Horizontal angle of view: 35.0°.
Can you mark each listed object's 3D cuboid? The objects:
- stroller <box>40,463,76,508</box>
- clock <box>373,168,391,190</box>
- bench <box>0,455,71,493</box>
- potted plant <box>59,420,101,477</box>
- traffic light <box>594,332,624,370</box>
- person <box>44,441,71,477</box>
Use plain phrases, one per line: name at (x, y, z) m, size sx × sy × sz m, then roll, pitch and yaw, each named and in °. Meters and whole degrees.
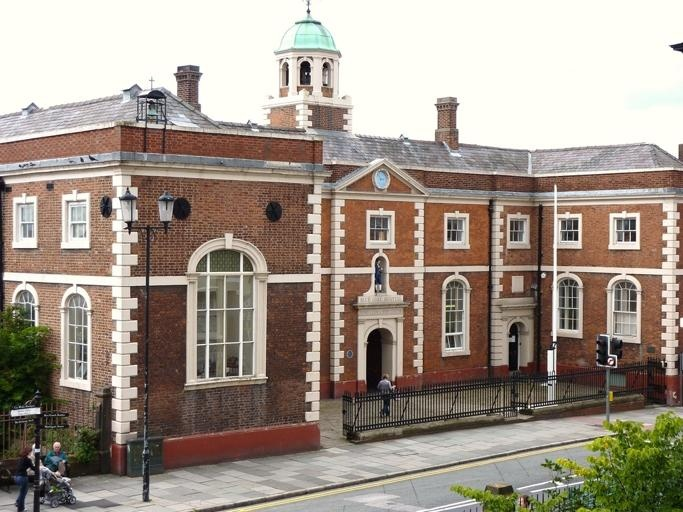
stroller at (-8.315, 6.653, 31.720) m, size 1.035 × 1.273 × 1.026 m, roll -1°, pitch -1°, yaw -11°
clock at (1.716, -3.416, 47.325) m, size 0.113 × 0.944 × 0.888 m, roll -1°, pitch -2°, yaw 43°
bench at (-8.753, 6.452, 31.339) m, size 1.874 × 1.295 × 1.395 m, roll -3°, pitch 1°, yaw -28°
potted plant at (-8.156, 6.046, 34.207) m, size 0.942 × 1.468 × 1.205 m, roll -7°, pitch -3°, yaw -24°
traffic light at (8.604, 3.181, 35.779) m, size 0.939 × 1.112 × 0.740 m, roll -8°, pitch -9°, yaw 41°
person at (-8.579, 6.115, 32.557) m, size 0.629 × 1.076 × 0.779 m, roll 0°, pitch -7°, yaw -10°
